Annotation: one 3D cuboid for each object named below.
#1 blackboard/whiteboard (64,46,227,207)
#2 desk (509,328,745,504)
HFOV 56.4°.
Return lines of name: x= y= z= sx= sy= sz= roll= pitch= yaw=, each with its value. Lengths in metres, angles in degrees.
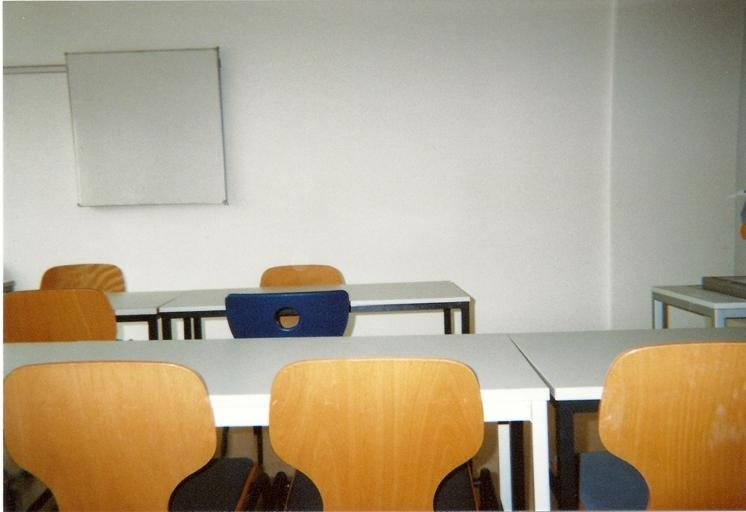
blackboard/whiteboard: x=-1.610 y=-0.959 z=4.954 sx=1.090 sy=1.083 sz=0.041 roll=-2 pitch=4 yaw=-2
desk: x=1.017 y=0.662 z=3.029 sx=0.803 sy=0.638 sz=0.474 roll=-2 pitch=4 yaw=-24
